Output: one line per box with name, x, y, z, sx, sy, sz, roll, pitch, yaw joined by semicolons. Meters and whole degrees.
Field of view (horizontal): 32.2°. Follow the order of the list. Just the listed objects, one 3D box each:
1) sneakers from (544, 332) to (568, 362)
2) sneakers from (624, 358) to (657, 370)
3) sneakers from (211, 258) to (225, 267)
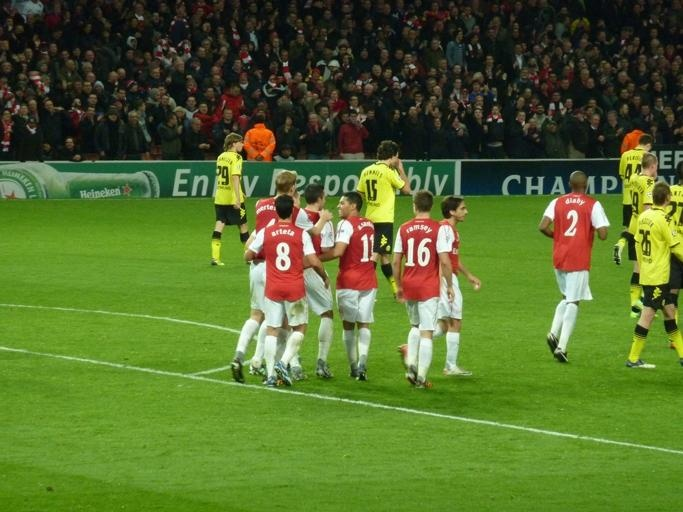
sneakers;3.068;1.380;17.233;0.230;0.515;0.184;-15;-10;-26
sneakers;4.253;1.574;17.078;0.462;0.180;0.159;-3;4;-5
sneakers;-2.431;0.163;23.665;0.342;0.158;0.112;2;6;-35
